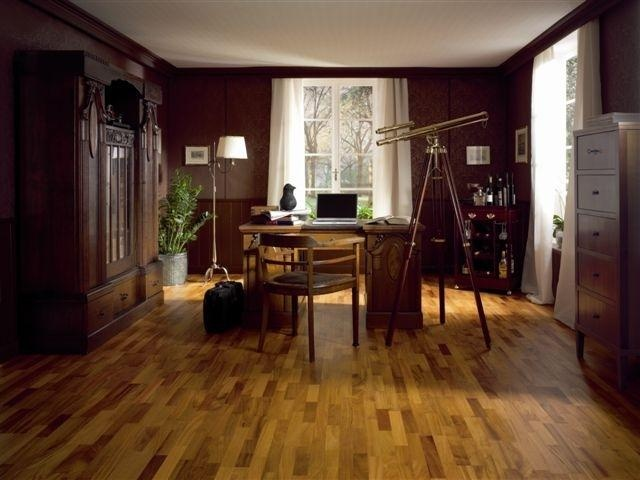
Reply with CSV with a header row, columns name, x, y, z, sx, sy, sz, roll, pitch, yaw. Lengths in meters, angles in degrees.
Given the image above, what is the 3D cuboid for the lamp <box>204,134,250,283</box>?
name,x,y,z,sx,sy,sz,roll,pitch,yaw
lamp,-1.300,-0.372,6.346,0.537,2.025,0.490,1,4,-9

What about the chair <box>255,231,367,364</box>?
name,x,y,z,sx,sy,sz,roll,pitch,yaw
chair,-0.202,0.307,4.221,0.992,1.417,0.923,2,5,37

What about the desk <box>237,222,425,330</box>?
name,x,y,z,sx,sy,sz,roll,pitch,yaw
desk,0.141,0.217,4.625,1.635,1.088,0.714,-1,23,7

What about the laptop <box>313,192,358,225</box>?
name,x,y,z,sx,sy,sz,roll,pitch,yaw
laptop,0.163,-0.305,4.533,0.404,0.264,0.413,1,10,2

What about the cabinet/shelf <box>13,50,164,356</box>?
name,x,y,z,sx,sy,sz,roll,pitch,yaw
cabinet/shelf,-2.151,-0.383,4.320,0.626,2.456,1.398,1,9,9

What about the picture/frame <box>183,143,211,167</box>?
name,x,y,z,sx,sy,sz,roll,pitch,yaw
picture/frame,-1.807,-1.256,6.845,0.283,0.281,0.033,0,3,-3

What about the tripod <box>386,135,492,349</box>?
name,x,y,z,sx,sy,sz,roll,pitch,yaw
tripod,1.041,-0.217,4.236,0.746,2.470,0.714,2,6,2
